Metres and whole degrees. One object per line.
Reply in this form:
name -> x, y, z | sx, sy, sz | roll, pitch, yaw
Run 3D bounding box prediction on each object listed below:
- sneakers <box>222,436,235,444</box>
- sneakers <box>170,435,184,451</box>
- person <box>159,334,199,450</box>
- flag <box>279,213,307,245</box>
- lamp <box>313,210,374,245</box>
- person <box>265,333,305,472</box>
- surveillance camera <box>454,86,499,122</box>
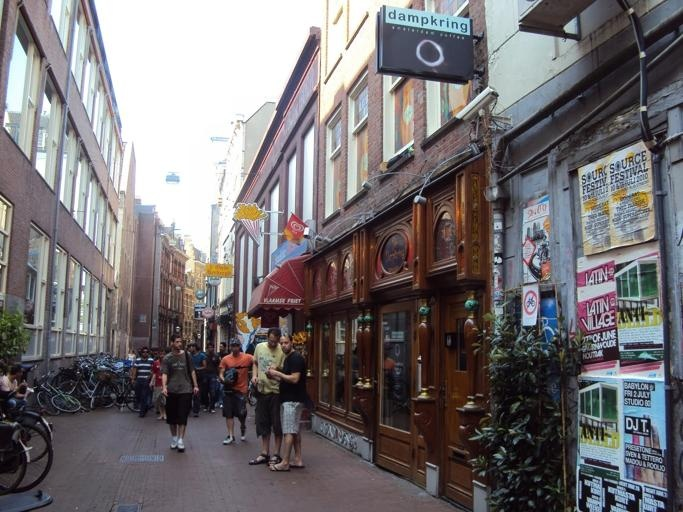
sneakers -> -2.203, 3.621, 11.821 | 0.100, 0.154, 0.281 | -11, -21, 33
sneakers -> -3.011, 3.452, 11.022 | 0.154, 0.236, 0.512 | 7, -32, -18
person -> -3.021, 2.518, 11.157 | 0.661, 2.136, 0.807 | 3, -14, -16
flag -> -1.174, -0.728, 15.412 | 0.558, 0.791, 0.596 | 0, -15, -3
lamp -> 0.051, -0.621, 13.202 | 0.300, 0.469, 2.753 | -7, -8, -27
person -> -0.870, 2.434, 9.944 | 0.590, 2.120, 1.204 | 0, -14, -3
surveillance camera -> 1.708, -1.902, 7.491 | 0.373, 0.096, 0.382 | -39, 1, 25
